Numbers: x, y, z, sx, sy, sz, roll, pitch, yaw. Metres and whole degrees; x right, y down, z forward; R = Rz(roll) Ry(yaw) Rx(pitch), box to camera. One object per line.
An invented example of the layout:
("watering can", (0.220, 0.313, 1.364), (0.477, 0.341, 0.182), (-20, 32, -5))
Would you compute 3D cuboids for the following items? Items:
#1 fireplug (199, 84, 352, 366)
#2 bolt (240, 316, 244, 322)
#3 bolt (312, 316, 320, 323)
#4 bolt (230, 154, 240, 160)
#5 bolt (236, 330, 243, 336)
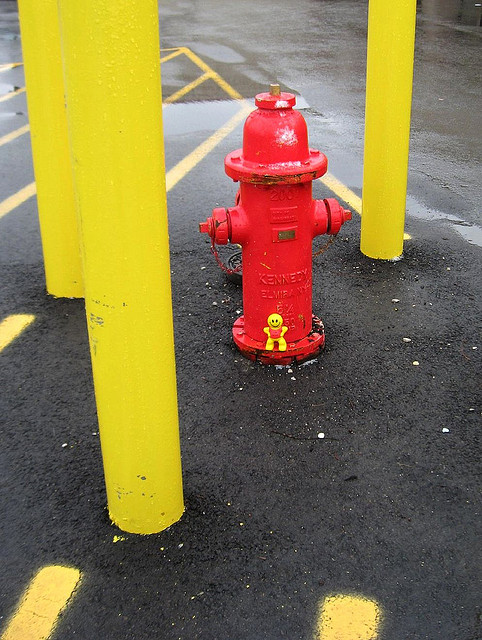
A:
("fireplug", (0.169, -0.474, 3.303), (0.747, 1.480, 0.411), (3, 29, 6))
("bolt", (0.007, -0.008, 3.836), (0.021, 0.023, 0.052), (0, -3, 3))
("bolt", (0.457, 0.001, 3.740), (0.035, 0.020, 0.033), (7, 8, -4))
("bolt", (-0.031, -0.847, 3.215), (0.038, 0.010, 0.039), (4, 30, 13))
("bolt", (-0.006, 0.079, 3.649), (0.025, 0.007, 0.024), (-8, 42, -5))
